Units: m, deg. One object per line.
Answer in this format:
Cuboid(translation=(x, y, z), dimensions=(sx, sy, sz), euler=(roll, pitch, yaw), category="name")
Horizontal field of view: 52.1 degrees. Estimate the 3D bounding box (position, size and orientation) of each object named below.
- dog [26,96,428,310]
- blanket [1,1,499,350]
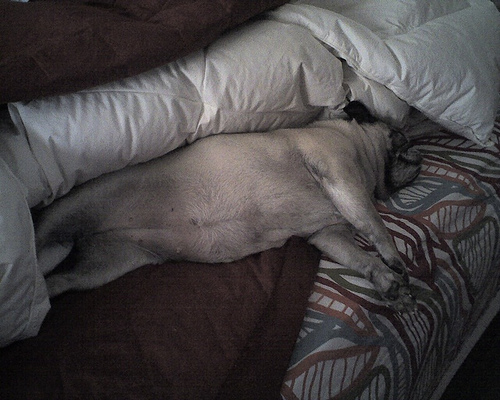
Cuboid(translation=(-0.101, 0.028, 1.566), dimensions=(1.013, 0.242, 0.536), euler=(-7, 33, -22), category="dog")
Cuboid(translation=(0.307, -0.382, 2.220), dimensions=(2.641, 0.699, 0.988), euler=(-27, 94, -29), category="blanket")
